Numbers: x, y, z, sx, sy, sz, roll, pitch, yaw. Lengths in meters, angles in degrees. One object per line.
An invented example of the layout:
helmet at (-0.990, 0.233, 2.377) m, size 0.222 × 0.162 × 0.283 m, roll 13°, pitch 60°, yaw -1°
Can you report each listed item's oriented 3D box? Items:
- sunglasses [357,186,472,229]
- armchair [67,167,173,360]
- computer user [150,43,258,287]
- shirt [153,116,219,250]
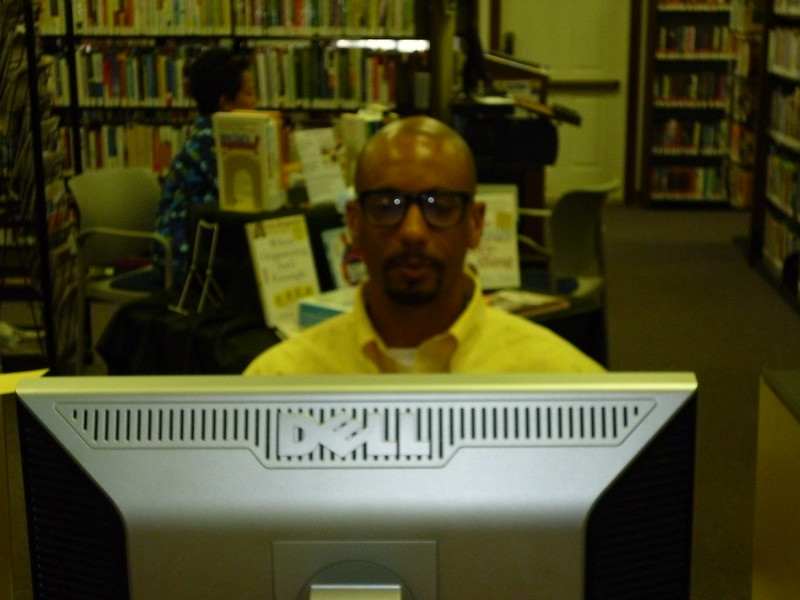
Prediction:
sunglasses at (0.020, -0.153, 1.386) m, size 0.177 × 0.065 × 0.032 m, roll 3°, pitch 9°, yaw 0°
armchair at (-1.007, -0.105, 3.065) m, size 0.409 × 0.743 × 0.472 m, roll -5°, pitch 13°, yaw -22°
computer user at (-0.650, -0.420, 2.940) m, size 0.324 × 0.916 × 0.293 m, roll -3°, pitch -8°, yaw -17°
shirt at (-0.733, -0.405, 2.880) m, size 0.138 × 0.464 × 0.316 m, roll 7°, pitch 13°, yaw -7°
